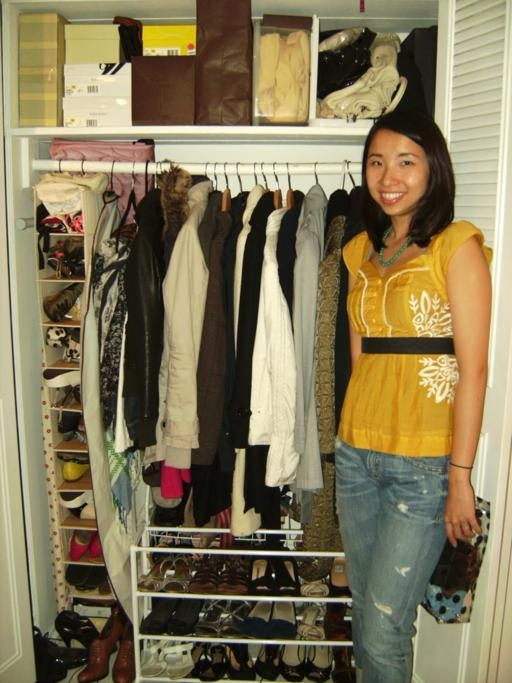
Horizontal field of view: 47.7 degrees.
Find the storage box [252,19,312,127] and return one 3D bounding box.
[{"bbox_3d":[0.089,-0.882,1.906,0.210,0.293,0.091,2,8,4],"label":"storage box"}]

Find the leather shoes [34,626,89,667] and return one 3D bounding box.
[{"bbox_3d":[-0.763,1.129,2.158,0.285,0.117,0.087,2,3,9],"label":"leather shoes"}]

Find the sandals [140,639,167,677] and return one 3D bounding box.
[{"bbox_3d":[-0.361,1.115,2.027,0.079,0.050,0.142,-1,7,-12],"label":"sandals"}]

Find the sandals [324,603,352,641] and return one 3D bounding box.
[{"bbox_3d":[0.288,0.979,2.026,0.048,0.053,0.135,1,14,4],"label":"sandals"}]

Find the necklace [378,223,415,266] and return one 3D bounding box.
[{"bbox_3d":[0.338,-0.235,1.425,0.011,0.078,0.061,28,-15,-27],"label":"necklace"}]

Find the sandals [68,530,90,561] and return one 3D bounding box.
[{"bbox_3d":[-0.683,0.791,2.250,0.053,0.127,0.039,2,-10,-8],"label":"sandals"}]

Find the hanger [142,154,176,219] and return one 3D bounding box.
[{"bbox_3d":[-0.304,-0.488,1.892,0.127,0.213,0.109,-3,8,-31],"label":"hanger"}]

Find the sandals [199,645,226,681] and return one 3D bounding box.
[{"bbox_3d":[-0.146,1.116,2.001,0.084,0.052,0.130,1,7,3],"label":"sandals"}]

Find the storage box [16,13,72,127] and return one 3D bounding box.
[{"bbox_3d":[-0.813,-0.982,2.130,0.212,0.367,0.393,-2,18,-23],"label":"storage box"}]

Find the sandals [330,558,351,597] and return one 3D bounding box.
[{"bbox_3d":[0.302,0.857,2.090,0.045,0.131,0.053,-8,-1,4],"label":"sandals"}]

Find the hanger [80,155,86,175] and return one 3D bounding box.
[{"bbox_3d":[-0.616,-0.641,2.067,0.019,0.082,0.195,-1,7,-17],"label":"hanger"}]

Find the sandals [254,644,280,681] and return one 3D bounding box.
[{"bbox_3d":[0.041,1.128,2.017,0.085,0.084,0.106,1,7,2],"label":"sandals"}]

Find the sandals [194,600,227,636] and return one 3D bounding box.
[{"bbox_3d":[-0.156,0.972,2.023,0.082,0.027,0.196,0,-3,4],"label":"sandals"}]

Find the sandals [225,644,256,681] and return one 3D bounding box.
[{"bbox_3d":[-0.059,1.113,1.997,0.050,0.058,0.144,-3,23,-16],"label":"sandals"}]

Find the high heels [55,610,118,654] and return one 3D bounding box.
[{"bbox_3d":[-0.668,1.071,2.161,0.300,0.130,0.092,-5,2,27],"label":"high heels"}]

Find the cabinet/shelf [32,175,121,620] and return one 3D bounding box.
[{"bbox_3d":[-0.646,0.236,2.106,0.379,1.651,0.250,7,9,44],"label":"cabinet/shelf"}]
